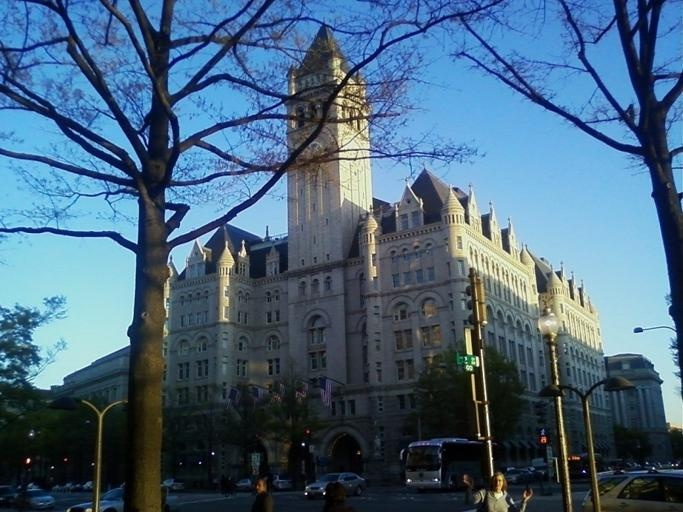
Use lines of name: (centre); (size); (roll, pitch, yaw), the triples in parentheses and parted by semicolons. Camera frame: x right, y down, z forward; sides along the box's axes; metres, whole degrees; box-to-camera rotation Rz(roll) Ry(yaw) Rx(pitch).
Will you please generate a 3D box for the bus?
bus: (7.161, 14.056, 49.080); (2.704, 3.220, 8.590); (-9, -18, 29)
